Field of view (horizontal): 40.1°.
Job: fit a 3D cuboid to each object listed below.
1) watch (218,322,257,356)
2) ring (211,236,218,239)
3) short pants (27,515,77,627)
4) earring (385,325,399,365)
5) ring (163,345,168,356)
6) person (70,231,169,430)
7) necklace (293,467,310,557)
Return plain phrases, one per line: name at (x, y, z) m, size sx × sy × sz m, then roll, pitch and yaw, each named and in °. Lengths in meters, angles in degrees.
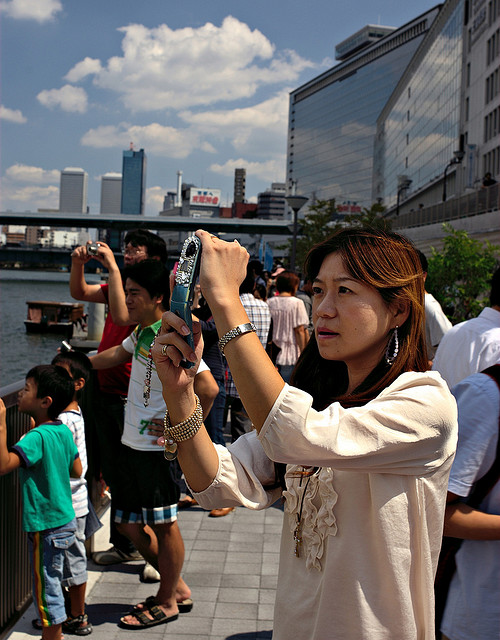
watch at (-0.031, 0.047, 1.546) m, size 0.075 × 0.018 × 0.072 m, roll -22°, pitch -3°, yaw -40°
ring at (-0.087, -0.193, 1.607) m, size 0.014 × 0.004 × 0.013 m, roll -1°, pitch 2°, yaw -3°
short pants at (-0.939, 1.196, 3.277) m, size 0.228 × 0.453 × 0.295 m, roll -1°, pitch 6°, yaw -14°
earring at (0.361, 0.070, 1.764) m, size 0.032 × 0.089 × 0.031 m, roll 6°, pitch 8°, yaw 42°
ring at (-0.216, 0.080, 1.747) m, size 0.007 × 0.026 × 0.012 m, roll -4°, pitch 7°, yaw -35°
person at (-0.965, 0.337, 4.852) m, size 0.680 × 1.486 × 0.516 m, roll 4°, pitch -1°, yaw -6°
necklace at (0.127, 0.502, 1.733) m, size 0.037 × 0.205 × 0.045 m, roll 1°, pitch 6°, yaw 2°
